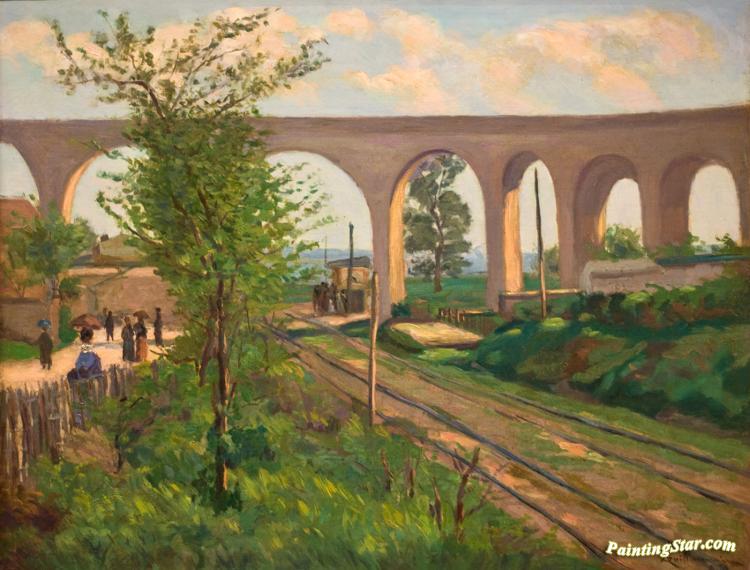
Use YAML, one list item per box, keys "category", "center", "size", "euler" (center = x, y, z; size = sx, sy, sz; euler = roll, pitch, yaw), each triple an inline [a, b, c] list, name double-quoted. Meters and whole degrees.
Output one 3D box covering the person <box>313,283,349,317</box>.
- category: "person"
  center: [-1.500, 0.489, 25.879]
  size: [1.189, 1.369, 0.948]
  euler: [0, -1, 0]
